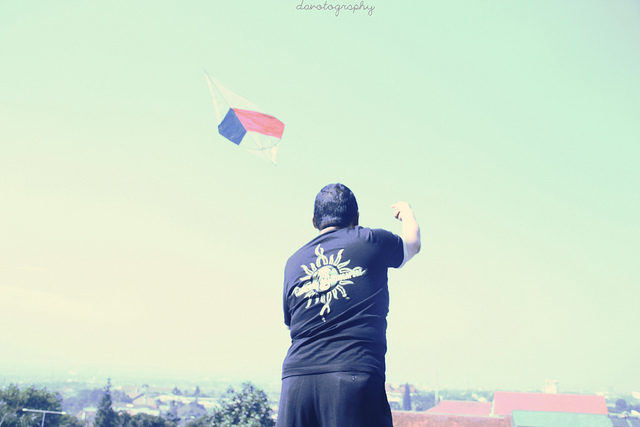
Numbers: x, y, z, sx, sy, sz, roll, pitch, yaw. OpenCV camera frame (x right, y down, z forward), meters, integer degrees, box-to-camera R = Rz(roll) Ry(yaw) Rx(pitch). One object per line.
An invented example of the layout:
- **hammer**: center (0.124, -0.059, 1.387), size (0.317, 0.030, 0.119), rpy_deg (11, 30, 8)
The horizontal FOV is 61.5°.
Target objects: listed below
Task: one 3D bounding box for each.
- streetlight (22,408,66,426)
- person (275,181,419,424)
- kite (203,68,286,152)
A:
- **streetlight**: center (-5.959, 4.401, 11.553), size (0.866, 0.365, 0.244), rpy_deg (24, -32, -26)
- **person**: center (0.251, 1.096, 6.283), size (1.422, 2.566, 1.146), rpy_deg (8, -27, -1)
- **kite**: center (-1.099, -1.512, 7.632), size (0.876, 0.735, 1.416), rpy_deg (31, -6, 21)
